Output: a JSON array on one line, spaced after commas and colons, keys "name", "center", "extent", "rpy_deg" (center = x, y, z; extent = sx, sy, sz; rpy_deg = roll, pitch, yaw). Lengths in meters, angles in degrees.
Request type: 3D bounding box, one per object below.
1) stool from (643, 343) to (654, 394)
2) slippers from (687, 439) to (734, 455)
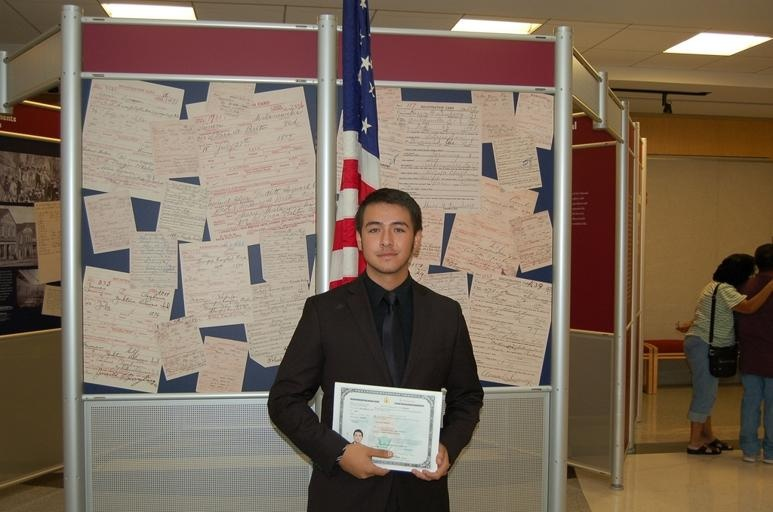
[{"name": "stool", "center": [3.518, 1.496, 9.303], "extent": [0.190, 0.652, 0.434], "rpy_deg": [-1, -5, 20]}, {"name": "slippers", "center": [3.240, 1.904, 6.996], "extent": [0.465, 0.126, 0.172], "rpy_deg": [-4, 7, -7]}]
